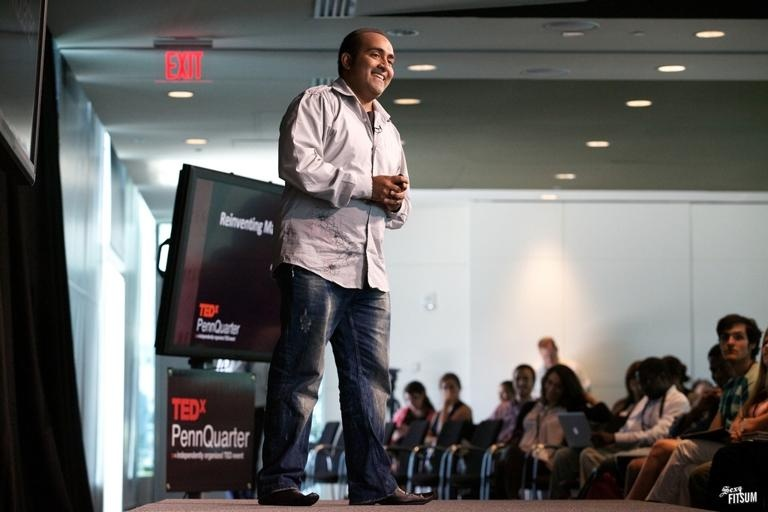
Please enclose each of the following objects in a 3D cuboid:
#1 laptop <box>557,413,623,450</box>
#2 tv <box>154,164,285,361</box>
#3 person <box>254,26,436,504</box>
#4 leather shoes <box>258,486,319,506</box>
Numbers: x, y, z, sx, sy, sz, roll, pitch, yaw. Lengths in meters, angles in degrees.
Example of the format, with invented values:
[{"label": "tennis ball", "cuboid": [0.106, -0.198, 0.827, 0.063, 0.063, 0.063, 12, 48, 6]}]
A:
[{"label": "laptop", "cuboid": [1.372, 1.205, 5.316, 0.270, 0.271, 0.224, -15, 0, 33]}, {"label": "tv", "cuboid": [-0.938, 0.082, 4.457, 1.185, 1.251, 0.161, 6, -3, -39]}, {"label": "person", "cuboid": [-0.190, 0.019, 3.354, 0.664, 2.081, 0.390, 2, -7, -10]}, {"label": "leather shoes", "cuboid": [-0.394, 0.994, 3.202, 0.237, 0.100, 0.090, -4, -7, 2]}]
